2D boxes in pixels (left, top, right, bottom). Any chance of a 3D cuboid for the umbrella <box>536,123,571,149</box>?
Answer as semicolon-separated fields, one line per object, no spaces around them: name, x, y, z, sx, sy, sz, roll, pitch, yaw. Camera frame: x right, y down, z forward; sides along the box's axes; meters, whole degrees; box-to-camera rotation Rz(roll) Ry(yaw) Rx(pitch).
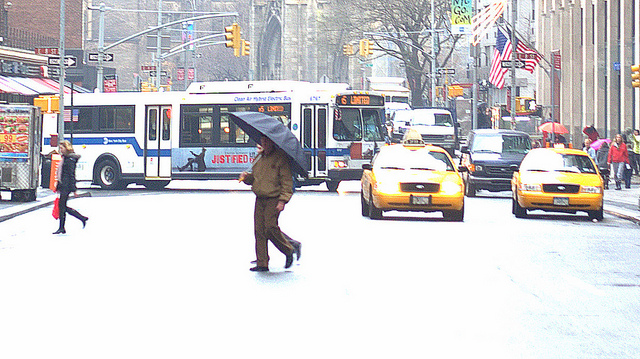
umbrella;12.730;-2.395;50.576;1.892;1.770;1.906;2;4;21

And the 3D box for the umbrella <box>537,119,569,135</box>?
umbrella;11.368;-2.531;45.554;1.106;0.884;3.048;2;12;11

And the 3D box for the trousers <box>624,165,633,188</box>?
trousers;13.298;-0.118;40.272;0.265;0.925;0.528;3;12;18

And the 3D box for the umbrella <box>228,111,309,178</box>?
umbrella;-1.120;-0.930;22.226;2.141;2.148;0.712;29;68;39
